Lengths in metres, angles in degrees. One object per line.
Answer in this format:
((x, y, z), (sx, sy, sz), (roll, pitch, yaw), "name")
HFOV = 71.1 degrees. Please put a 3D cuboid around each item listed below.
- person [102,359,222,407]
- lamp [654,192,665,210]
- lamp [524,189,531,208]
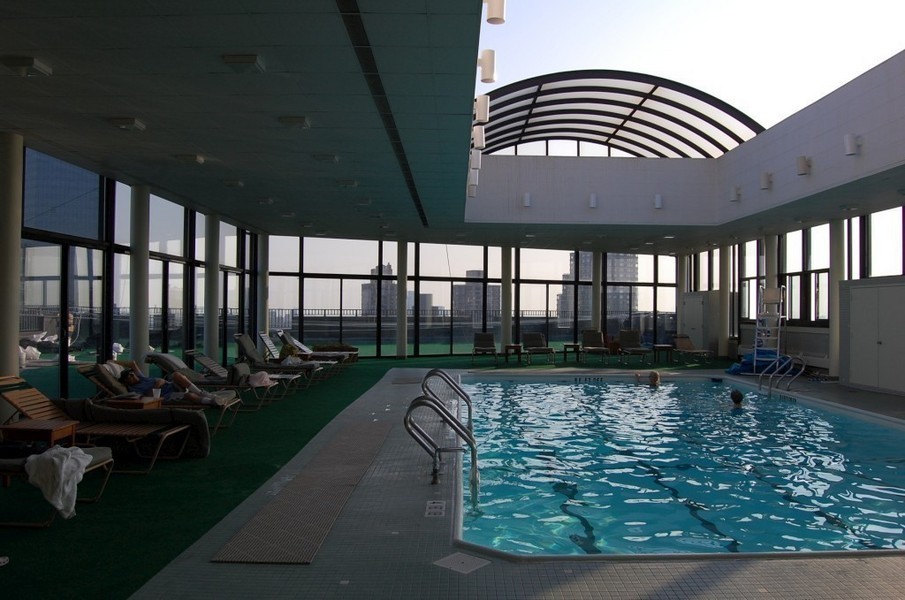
((-4.783, 1.411, 10.698), (1.880, 0.578, 0.886), (3, -7, -10), "person")
((6.104, -2.895, 18.619), (0.297, 0.318, 0.140), (-2, -2, 9), "lamp")
((2.222, -2.968, 18.648), (0.225, 0.443, 0.117), (-2, -2, 1), "lamp")
